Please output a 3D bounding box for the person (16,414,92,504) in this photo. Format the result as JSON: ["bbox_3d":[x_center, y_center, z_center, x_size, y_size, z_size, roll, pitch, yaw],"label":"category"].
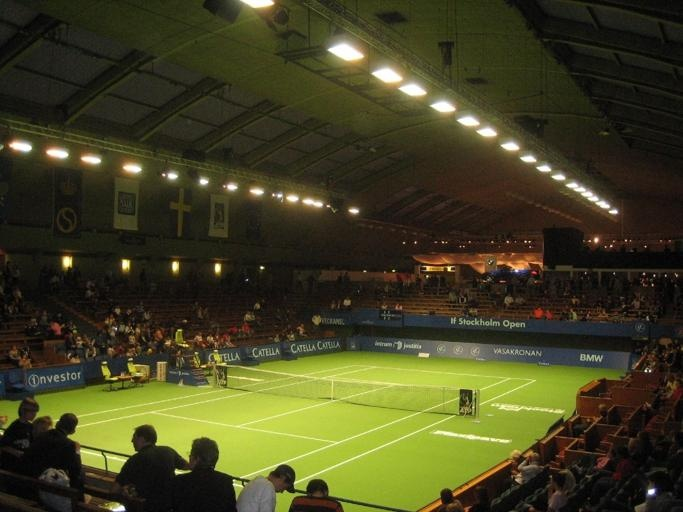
[{"bbox_3d":[-5.247,3.602,10.784,0.941,1.278,0.443,1,1,-28],"label":"person"}]
